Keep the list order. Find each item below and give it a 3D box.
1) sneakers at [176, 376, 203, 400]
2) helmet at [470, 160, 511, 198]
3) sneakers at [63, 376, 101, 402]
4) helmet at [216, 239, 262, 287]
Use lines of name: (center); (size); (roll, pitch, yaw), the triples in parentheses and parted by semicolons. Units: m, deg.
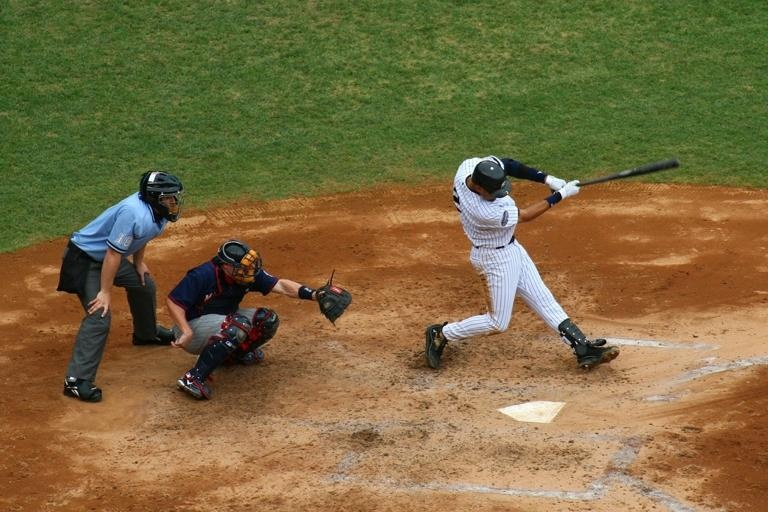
sneakers: (-2.265, 1.547, 10.314); (0.374, 0.320, 0.138); (4, 37, 17)
helmet: (1.199, -0.882, 10.222); (0.410, 0.449, 0.369); (9, 35, 24)
sneakers: (-3.518, 1.561, 10.278); (0.648, 0.171, 0.204); (6, 33, 14)
helmet: (-1.717, 0.100, 10.385); (0.471, 0.553, 0.273); (-11, 35, -6)
